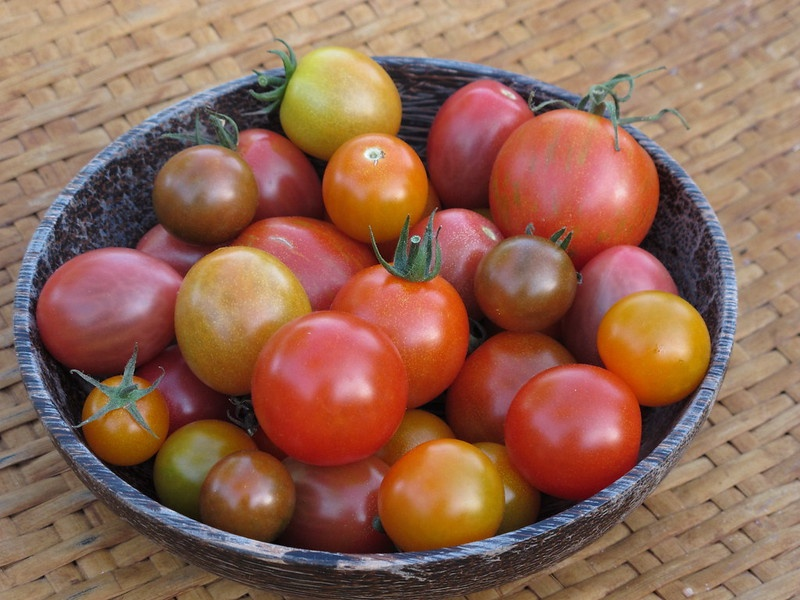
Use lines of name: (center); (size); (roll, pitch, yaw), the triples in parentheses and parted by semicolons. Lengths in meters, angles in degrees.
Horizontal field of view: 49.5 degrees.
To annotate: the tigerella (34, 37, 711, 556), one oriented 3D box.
tigerella: (0.010, 0.018, 1.010); (0.671, 0.393, 0.701); (4, 37, 2)
